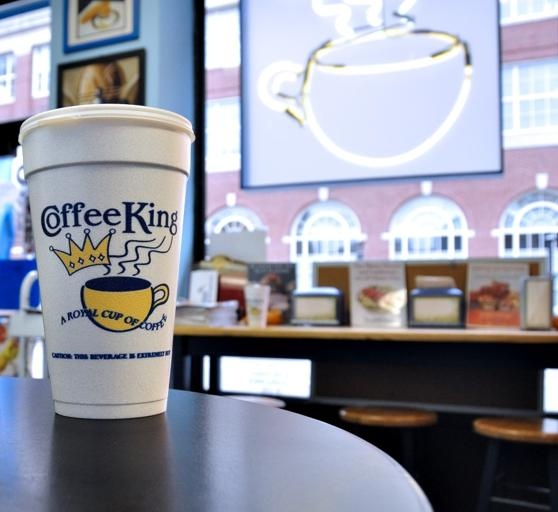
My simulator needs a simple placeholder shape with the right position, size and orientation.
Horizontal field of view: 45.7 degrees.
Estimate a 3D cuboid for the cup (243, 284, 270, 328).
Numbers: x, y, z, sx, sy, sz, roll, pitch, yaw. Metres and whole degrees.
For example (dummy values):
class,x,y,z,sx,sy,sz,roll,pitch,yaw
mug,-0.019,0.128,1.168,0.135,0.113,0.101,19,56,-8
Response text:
class,x,y,z,sx,sy,sz,roll,pitch,yaw
cup,-0.080,0.197,2.517,0.133,0.204,0.137,1,-3,0
